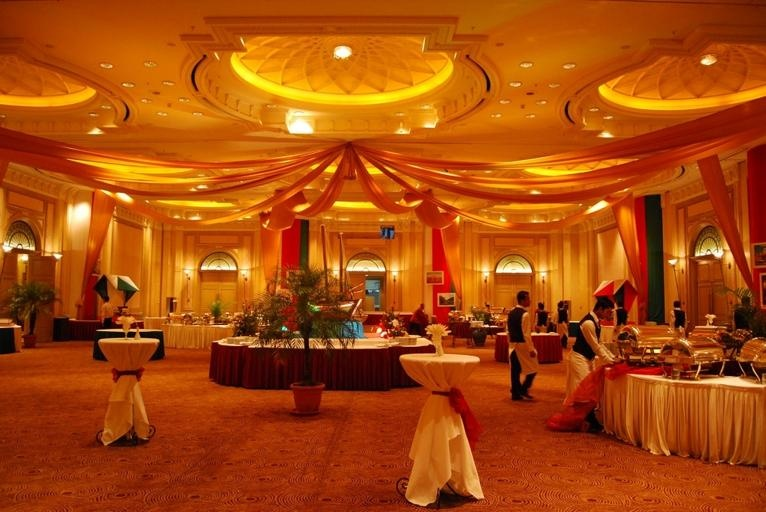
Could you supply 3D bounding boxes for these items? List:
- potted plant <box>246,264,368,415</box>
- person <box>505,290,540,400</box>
[{"bbox_3d":[-1.318,1.350,8.801,1.513,2.277,1.377,0,1,-8],"label":"potted plant"},{"bbox_3d":[2.498,1.689,9.411,0.489,1.717,0.543,0,1,10],"label":"person"}]
